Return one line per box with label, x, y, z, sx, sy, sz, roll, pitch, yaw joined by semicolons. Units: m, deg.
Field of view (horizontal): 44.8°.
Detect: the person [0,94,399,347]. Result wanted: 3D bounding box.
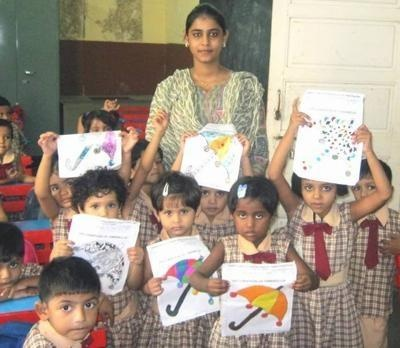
person;0.006;0.274;2.517;2.112;1.520;0.508;-1;-6;19
